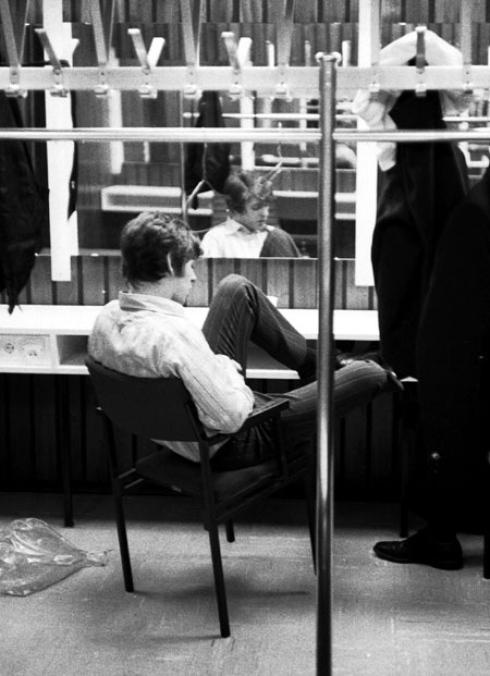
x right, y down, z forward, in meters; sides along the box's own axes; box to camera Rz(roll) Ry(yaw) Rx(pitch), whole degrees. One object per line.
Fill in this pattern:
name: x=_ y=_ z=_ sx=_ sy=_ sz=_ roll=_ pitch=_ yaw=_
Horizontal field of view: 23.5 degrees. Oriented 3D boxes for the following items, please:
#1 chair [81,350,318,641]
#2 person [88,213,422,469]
chair: x=-0.091 y=0.345 z=2.848 sx=0.441 sy=0.728 sz=0.480 roll=5 pitch=-24 yaw=-44
person: x=0.052 y=-0.030 z=3.115 sx=0.885 sy=0.725 sz=0.425 roll=-14 pitch=13 yaw=-34
